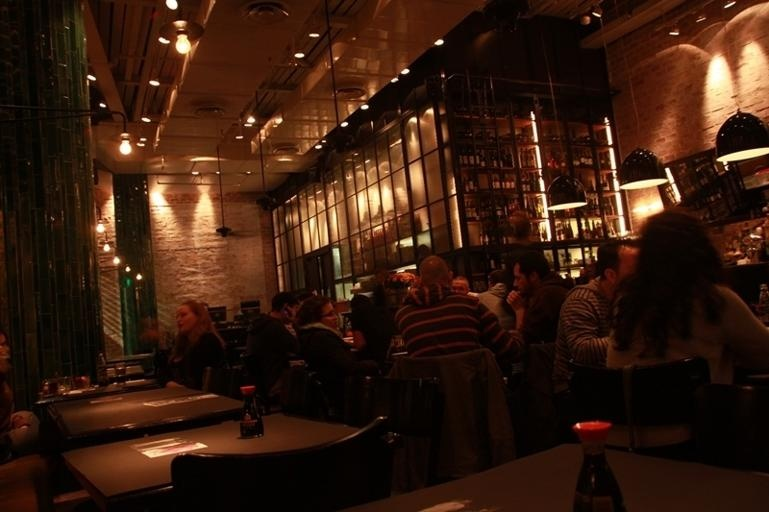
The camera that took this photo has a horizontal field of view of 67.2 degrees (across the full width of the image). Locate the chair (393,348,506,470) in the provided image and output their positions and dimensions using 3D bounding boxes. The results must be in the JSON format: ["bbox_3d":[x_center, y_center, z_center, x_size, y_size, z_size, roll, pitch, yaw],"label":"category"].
[{"bbox_3d":[0.398,0.922,3.385,0.769,0.655,0.406,-4,-2,17],"label":"chair"}]

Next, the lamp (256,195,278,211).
[{"bbox_3d":[-3.210,-1.535,16.084,0.635,0.490,0.593,3,-12,-18],"label":"lamp"}]

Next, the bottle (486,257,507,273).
[{"bbox_3d":[1.684,0.130,8.792,0.314,0.151,0.164,-4,5,16],"label":"bottle"}]

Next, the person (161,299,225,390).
[{"bbox_3d":[-1.892,0.864,5.664,0.724,0.822,0.341,-10,-6,29],"label":"person"}]

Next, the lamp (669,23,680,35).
[{"bbox_3d":[4.927,-3.823,9.843,0.200,0.162,0.179,0,-3,6],"label":"lamp"}]

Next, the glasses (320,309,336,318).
[{"bbox_3d":[-0.507,0.540,5.274,0.091,0.076,0.069,-34,-9,21],"label":"glasses"}]

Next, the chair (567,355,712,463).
[{"bbox_3d":[1.240,0.672,2.815,0.532,0.503,0.438,-6,0,-43],"label":"chair"}]

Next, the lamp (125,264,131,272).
[{"bbox_3d":[-6.525,0.306,14.789,0.242,0.196,0.053,2,-3,-19],"label":"lamp"}]

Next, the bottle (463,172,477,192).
[{"bbox_3d":[1.474,-1.230,9.763,0.281,0.340,0.082,-5,-6,-23],"label":"bottle"}]

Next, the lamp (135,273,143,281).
[{"bbox_3d":[-6.255,0.528,14.896,0.176,0.153,0.173,8,22,24],"label":"lamp"}]

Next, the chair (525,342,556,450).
[{"bbox_3d":[1.048,0.918,3.810,0.175,0.654,0.213,-11,-7,35],"label":"chair"}]

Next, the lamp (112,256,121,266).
[{"bbox_3d":[-6.859,0.121,14.741,0.257,0.256,0.251,0,-5,-1],"label":"lamp"}]

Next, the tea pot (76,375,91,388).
[{"bbox_3d":[-2.790,1.175,5.414,0.109,0.084,0.111,1,-6,0],"label":"tea pot"}]

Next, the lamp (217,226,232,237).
[{"bbox_3d":[-4.188,-0.630,15.147,0.375,0.239,0.375,6,5,36],"label":"lamp"}]

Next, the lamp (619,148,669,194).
[{"bbox_3d":[3.062,-1.014,7.013,0.592,0.562,0.552,-4,3,10],"label":"lamp"}]

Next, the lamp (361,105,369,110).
[{"bbox_3d":[-0.376,-2.979,11.655,0.146,0.087,0.317,-6,-5,-5],"label":"lamp"}]

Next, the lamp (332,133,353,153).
[{"bbox_3d":[-0.541,-1.569,8.098,0.276,0.238,0.244,4,3,40],"label":"lamp"}]

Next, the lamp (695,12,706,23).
[{"bbox_3d":[5.211,-3.929,9.557,0.082,0.094,0.143,-8,2,-29],"label":"lamp"}]

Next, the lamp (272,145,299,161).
[{"bbox_3d":[-2.267,-2.366,13.466,0.573,0.114,1.514,-5,-5,-9],"label":"lamp"}]

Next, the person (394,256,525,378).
[{"bbox_3d":[0.579,0.479,4.462,0.678,0.885,0.518,-17,17,40],"label":"person"}]

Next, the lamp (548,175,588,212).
[{"bbox_3d":[2.354,-0.804,7.648,0.579,0.425,0.586,-3,-1,41],"label":"lamp"}]

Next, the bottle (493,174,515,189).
[{"bbox_3d":[2.047,-1.267,9.987,0.337,0.176,0.036,-2,-5,-38],"label":"bottle"}]
